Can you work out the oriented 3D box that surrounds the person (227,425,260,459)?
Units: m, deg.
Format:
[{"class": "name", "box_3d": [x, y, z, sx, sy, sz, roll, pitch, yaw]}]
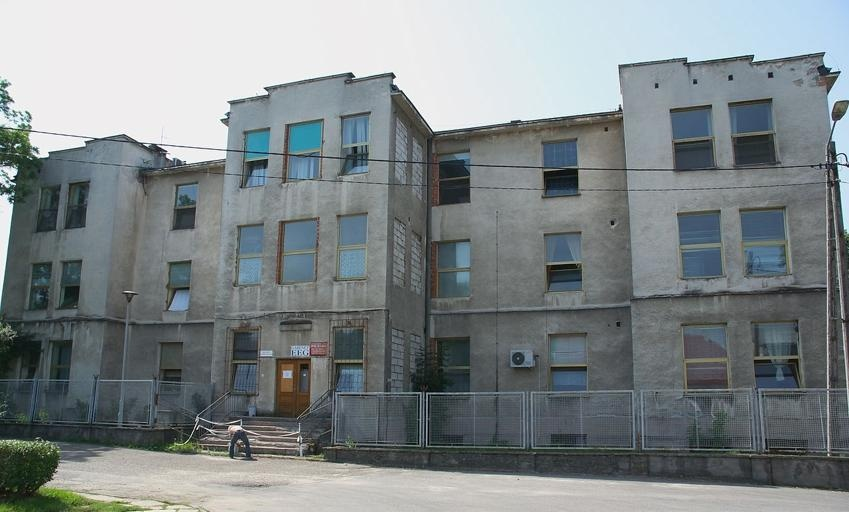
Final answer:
[{"class": "person", "box_3d": [-7.094, 7.311, 29.920, 1.462, 0.651, 2.117, 4, 24, -21]}]

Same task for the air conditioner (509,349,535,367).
[{"class": "air conditioner", "box_3d": [4.290, 4.563, 33.928, 1.433, 1.043, 0.721, -1, -18, 7]}]
